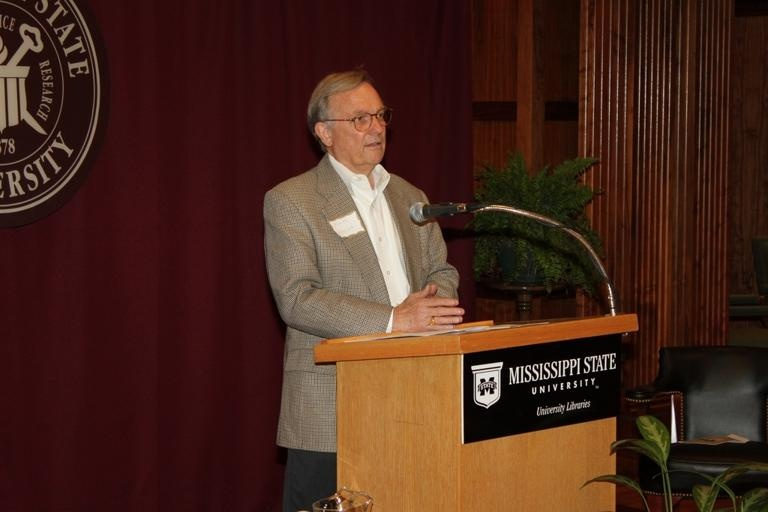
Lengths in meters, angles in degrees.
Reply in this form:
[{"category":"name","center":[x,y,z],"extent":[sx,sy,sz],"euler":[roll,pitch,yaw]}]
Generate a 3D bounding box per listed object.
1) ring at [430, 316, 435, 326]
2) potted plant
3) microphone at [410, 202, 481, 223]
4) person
[{"category":"ring","center":[0.197,0.260,2.816],"extent":[0.016,0.032,0.030],"euler":[0,-3,7]},{"category":"potted plant","center":[1.041,-0.037,4.956],"extent":[1.030,1.223,0.828],"euler":[5,-7,-25]},{"category":"microphone","center":[0.210,-0.183,2.911],"extent":[0.236,0.085,0.433],"euler":[-4,-2,-20]},{"category":"person","center":[-0.105,0.132,3.167],"extent":[0.843,1.970,0.811],"euler":[-3,0,-11]}]
